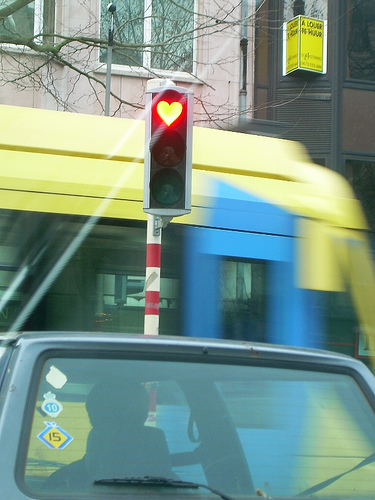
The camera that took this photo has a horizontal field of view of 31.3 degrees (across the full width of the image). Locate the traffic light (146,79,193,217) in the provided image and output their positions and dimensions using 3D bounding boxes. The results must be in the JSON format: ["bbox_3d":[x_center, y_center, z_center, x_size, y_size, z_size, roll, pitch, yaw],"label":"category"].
[{"bbox_3d":[-0.127,-0.739,4.830,0.332,0.971,0.214,-1,4,2],"label":"traffic light"}]
